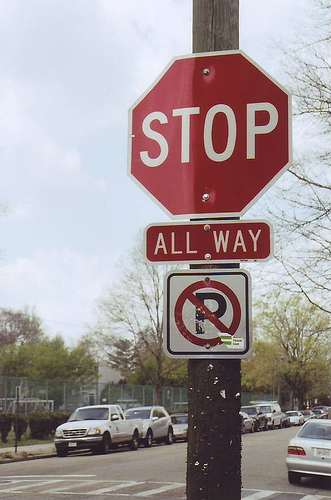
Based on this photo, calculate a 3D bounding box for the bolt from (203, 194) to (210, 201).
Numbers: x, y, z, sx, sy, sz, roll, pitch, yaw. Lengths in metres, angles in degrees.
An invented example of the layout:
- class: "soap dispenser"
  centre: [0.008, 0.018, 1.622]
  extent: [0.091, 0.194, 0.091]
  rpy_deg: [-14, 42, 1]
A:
- class: "bolt"
  centre: [0.196, -0.263, 4.991]
  extent: [0.024, 0.030, 0.007]
  rpy_deg: [0, -7, 0]

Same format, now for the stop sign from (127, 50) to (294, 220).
- class: "stop sign"
  centre: [0.226, -0.532, 4.934]
  extent: [0.793, 0.960, 0.099]
  rpy_deg: [-3, -15, 6]

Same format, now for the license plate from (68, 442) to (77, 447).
- class: "license plate"
  centre: [-2.132, 4.439, 22.627]
  extent: [0.064, 0.104, 0.285]
  rpy_deg: [9, -16, -41]

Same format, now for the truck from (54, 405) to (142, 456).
- class: "truck"
  centre: [-1.691, 4.343, 24.068]
  extent: [1.164, 1.270, 3.108]
  rpy_deg: [-4, -13, 16]

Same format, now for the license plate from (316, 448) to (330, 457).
- class: "license plate"
  centre: [2.339, 3.067, 15.031]
  extent: [0.050, 0.128, 0.240]
  rpy_deg: [8, -15, -39]

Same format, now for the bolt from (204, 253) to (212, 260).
- class: "bolt"
  centre: [0.197, 0.035, 4.851]
  extent: [0.033, 0.033, 0.011]
  rpy_deg: [0, -11, -1]

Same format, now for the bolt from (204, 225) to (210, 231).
- class: "bolt"
  centre: [0.195, -0.106, 4.874]
  extent: [0.022, 0.028, 0.006]
  rpy_deg: [0, -4, 4]

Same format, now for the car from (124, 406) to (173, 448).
- class: "car"
  centre: [-0.586, 5.070, 28.172]
  extent: [0.929, 1.251, 2.323]
  rpy_deg: [-13, -13, 22]

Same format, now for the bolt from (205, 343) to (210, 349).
- class: "bolt"
  centre: [0.194, 0.460, 4.758]
  extent: [0.019, 0.025, 0.004]
  rpy_deg: [-2, 1, 3]
